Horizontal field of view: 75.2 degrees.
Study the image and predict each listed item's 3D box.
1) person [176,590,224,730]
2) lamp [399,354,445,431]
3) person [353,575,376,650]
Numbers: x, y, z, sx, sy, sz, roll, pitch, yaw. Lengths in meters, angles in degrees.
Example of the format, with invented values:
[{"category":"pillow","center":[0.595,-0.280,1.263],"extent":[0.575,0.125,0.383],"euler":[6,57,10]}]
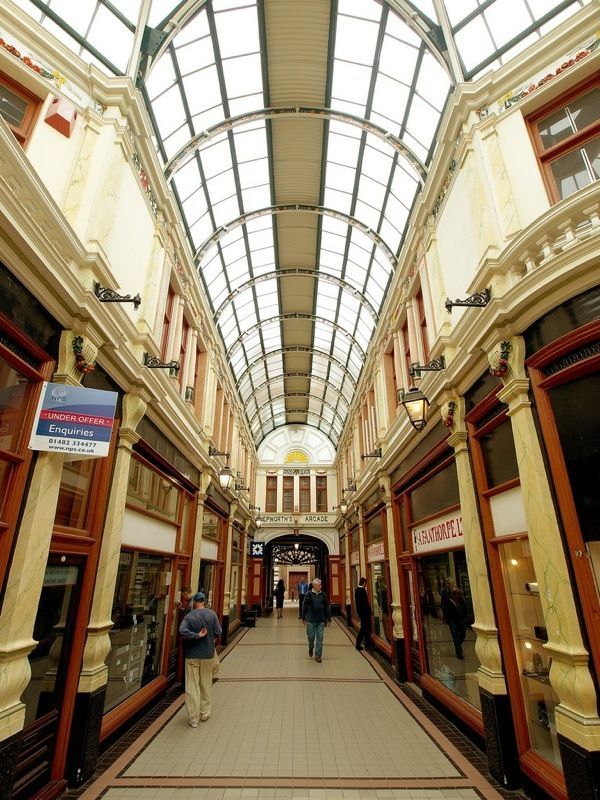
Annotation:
[{"category":"person","center":[-1.208,3.209,4.780],"extent":[0.348,1.222,0.480],"euler":[-11,-23,22]},{"category":"lamp","center":[1.495,-0.128,4.768],"extent":[0.490,0.966,0.285],"euler":[-6,-27,23]},{"category":"person","center":[1.574,5.446,9.885],"extent":[0.458,1.491,1.682],"euler":[-5,-22,7]}]
